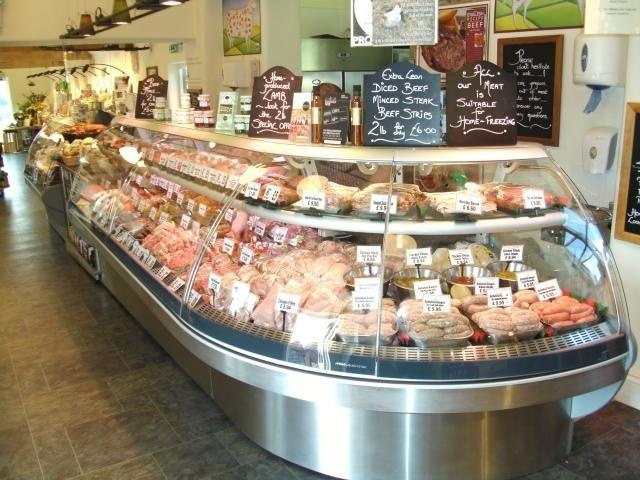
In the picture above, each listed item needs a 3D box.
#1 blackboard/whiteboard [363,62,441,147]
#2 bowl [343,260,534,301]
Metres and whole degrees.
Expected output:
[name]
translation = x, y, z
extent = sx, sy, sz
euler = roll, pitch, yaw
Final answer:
[blackboard/whiteboard]
translation = 0.414, -0.690, 2.278
extent = 0.012, 0.415, 0.464
euler = -21, 26, -38
[bowl]
translation = 0.665, 0.198, 2.332
extent = 0.566, 0.087, 0.366
euler = -2, 6, -5
